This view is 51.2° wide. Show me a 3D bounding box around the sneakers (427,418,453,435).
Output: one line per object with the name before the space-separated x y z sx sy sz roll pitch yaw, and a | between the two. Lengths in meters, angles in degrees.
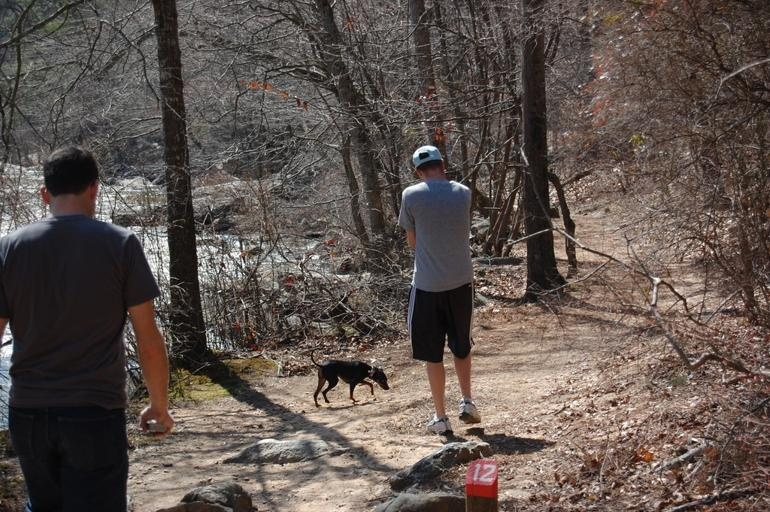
sneakers | 0.633 1.959 9.284 0.167 0.148 0.338 -1 5 -11

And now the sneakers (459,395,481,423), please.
sneakers | 0.963 1.787 9.265 0.173 0.203 0.366 0 1 19
